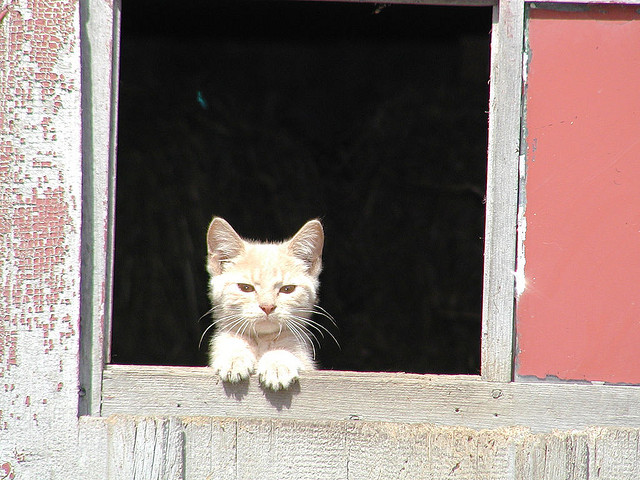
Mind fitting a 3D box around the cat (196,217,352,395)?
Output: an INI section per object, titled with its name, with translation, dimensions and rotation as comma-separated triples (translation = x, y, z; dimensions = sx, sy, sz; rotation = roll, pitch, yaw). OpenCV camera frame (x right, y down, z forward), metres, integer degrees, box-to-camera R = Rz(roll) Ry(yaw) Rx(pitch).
[cat]
translation = -0.311, 0.402, 8.822
dimensions = 0.614, 1.081, 1.492
rotation = 2, 0, 0
